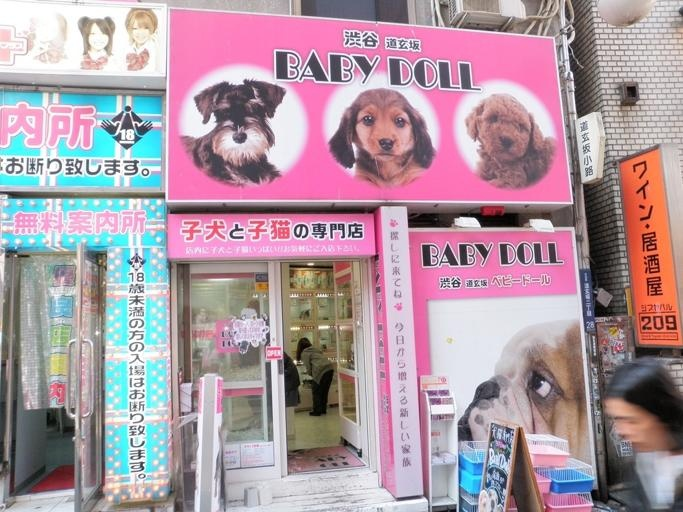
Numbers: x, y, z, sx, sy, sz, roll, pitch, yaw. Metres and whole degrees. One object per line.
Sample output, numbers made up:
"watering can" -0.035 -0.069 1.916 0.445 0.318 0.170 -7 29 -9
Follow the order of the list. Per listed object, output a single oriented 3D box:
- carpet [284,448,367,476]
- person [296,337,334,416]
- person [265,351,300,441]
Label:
"carpet" -0.251 2.874 8.125 1.032 0.151 1.154 -1 -11 -9
"person" -0.471 2.358 11.254 0.416 1.502 0.868 6 -12 -37
"person" -0.838 2.085 8.815 0.346 1.168 0.313 -1 -8 6
